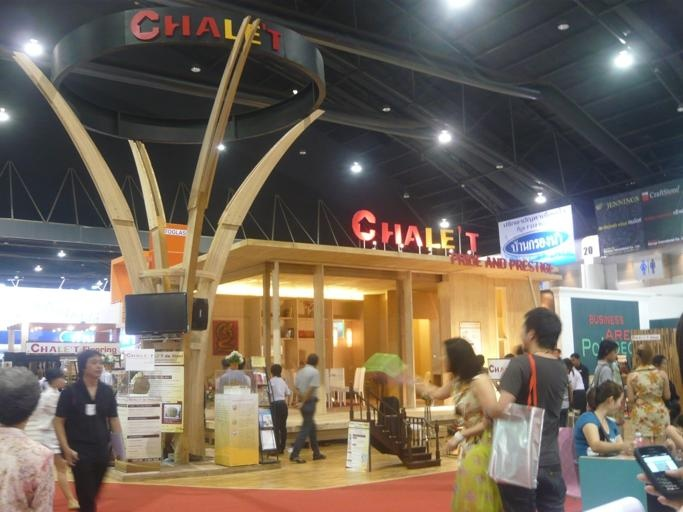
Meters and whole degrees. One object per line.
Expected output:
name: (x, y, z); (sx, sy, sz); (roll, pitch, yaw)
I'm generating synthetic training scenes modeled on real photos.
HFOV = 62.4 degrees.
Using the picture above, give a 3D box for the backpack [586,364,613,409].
backpack: (3.762, 1.775, 8.125); (0.127, 0.402, 0.399); (18, -2, 10)

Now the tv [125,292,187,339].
tv: (-2.859, 0.858, 8.599); (1.029, 0.635, 0.251); (0, -8, 14)

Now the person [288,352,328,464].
person: (-0.571, 2.478, 9.229); (0.558, 1.732, 0.684); (1, -8, 5)

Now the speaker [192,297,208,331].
speaker: (-2.239, 0.907, 8.899); (0.102, 0.488, 0.382); (-3, -10, 31)

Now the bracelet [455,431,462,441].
bracelet: (0.847, 1.300, 4.077); (0.064, 0.052, 0.061); (-1, -5, 0)
